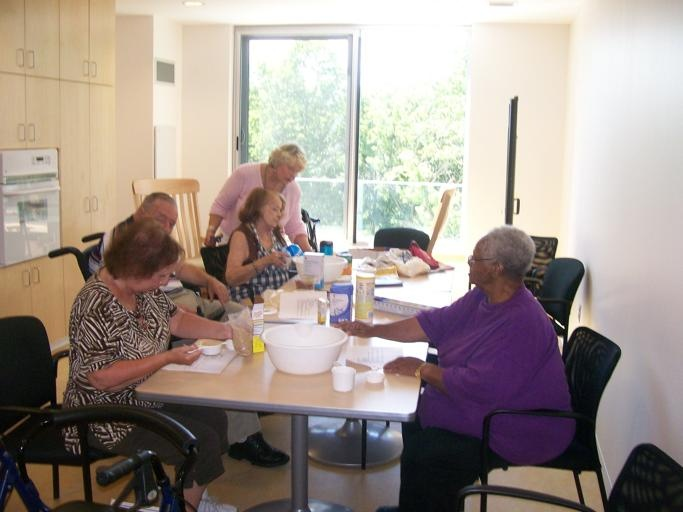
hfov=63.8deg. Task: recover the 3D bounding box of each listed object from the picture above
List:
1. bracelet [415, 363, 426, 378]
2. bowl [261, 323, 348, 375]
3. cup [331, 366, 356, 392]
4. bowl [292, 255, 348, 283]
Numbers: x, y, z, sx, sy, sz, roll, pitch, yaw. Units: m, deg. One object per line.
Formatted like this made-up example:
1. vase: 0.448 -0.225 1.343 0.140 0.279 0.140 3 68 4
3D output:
1. bracelet: 0.322 0.466 2.273 0.021 0.058 0.043 35 -10 27
2. bowl: -0.162 0.367 2.228 0.221 0.090 0.235 3 10 -1
3. cup: 0.009 0.458 2.096 0.071 0.074 0.093 7 10 27
4. bowl: -0.073 0.074 3.424 0.203 0.086 0.216 2 12 0
